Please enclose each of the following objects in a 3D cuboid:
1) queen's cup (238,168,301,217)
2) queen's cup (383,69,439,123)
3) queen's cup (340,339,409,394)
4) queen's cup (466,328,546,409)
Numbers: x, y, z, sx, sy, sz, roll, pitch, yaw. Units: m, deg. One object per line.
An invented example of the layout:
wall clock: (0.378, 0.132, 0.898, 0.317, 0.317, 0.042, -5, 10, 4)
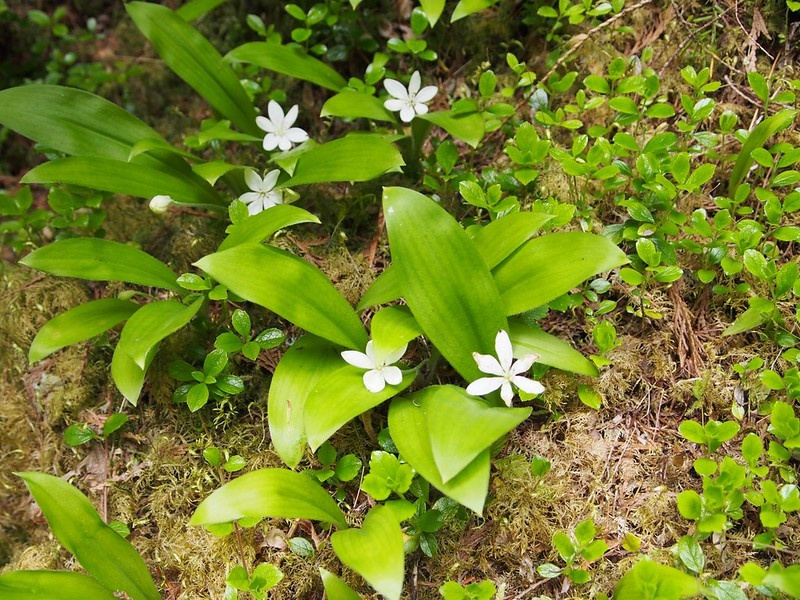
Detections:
queen's cup: (-0.790, -0.640, 4.123, 0.253, 0.334, 0.321, 11, 28, 25)
queen's cup: (0.053, -1.167, 4.100, 0.305, 0.337, 0.247, -19, 52, -11)
queen's cup: (-0.107, 0.312, 3.502, 0.286, 0.223, 0.260, 36, 62, 27)
queen's cup: (0.500, 0.338, 3.412, 0.356, 0.263, 0.283, 0, 51, 4)
